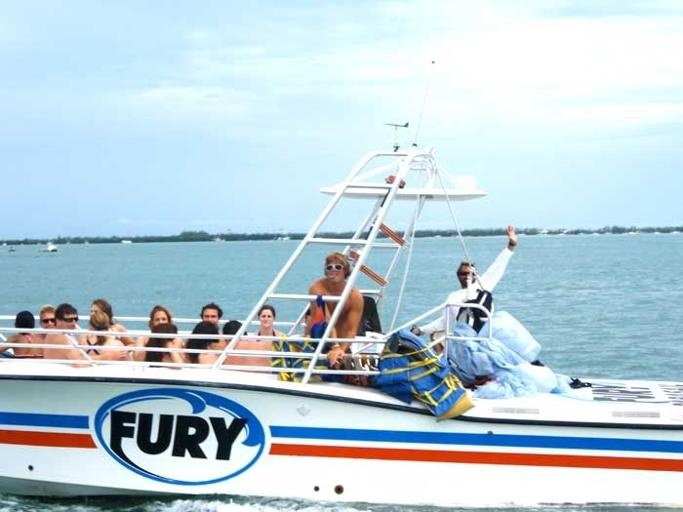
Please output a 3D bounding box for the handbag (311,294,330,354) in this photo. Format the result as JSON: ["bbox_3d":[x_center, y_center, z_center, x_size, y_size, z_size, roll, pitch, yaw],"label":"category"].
[{"bbox_3d":[-0.242,0.766,10.938,0.237,0.642,0.078,-5,22,-14],"label":"handbag"}]

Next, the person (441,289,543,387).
[{"bbox_3d":[1.829,1.003,11.818,1.116,0.510,1.503,14,12,19],"label":"person"}]
